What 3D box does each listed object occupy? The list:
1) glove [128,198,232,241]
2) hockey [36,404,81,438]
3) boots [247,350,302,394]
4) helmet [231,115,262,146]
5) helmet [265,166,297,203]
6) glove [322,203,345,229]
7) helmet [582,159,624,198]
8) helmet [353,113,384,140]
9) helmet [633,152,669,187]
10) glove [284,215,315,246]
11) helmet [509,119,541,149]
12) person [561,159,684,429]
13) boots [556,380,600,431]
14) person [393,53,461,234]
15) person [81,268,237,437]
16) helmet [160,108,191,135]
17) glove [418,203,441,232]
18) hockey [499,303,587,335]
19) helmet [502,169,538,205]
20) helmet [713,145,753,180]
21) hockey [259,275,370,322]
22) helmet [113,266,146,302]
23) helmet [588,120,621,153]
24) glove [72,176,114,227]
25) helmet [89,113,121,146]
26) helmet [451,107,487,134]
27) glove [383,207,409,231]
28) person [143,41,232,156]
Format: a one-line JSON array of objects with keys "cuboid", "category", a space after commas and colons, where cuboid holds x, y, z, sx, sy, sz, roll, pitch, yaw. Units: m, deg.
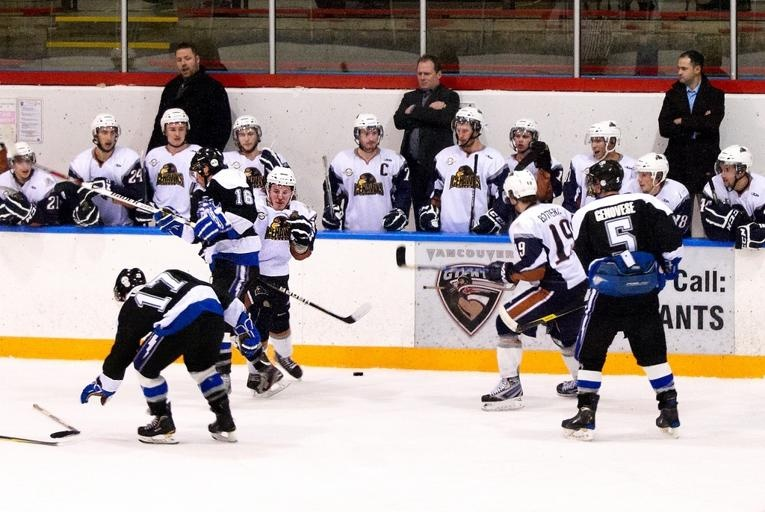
[{"cuboid": [-1.501, -0.284, 7.227, 0.657, 0.147, 0.272, 19, 13, -1], "category": "glove"}, {"cuboid": [-2.327, 1.138, 6.946, 0.298, 0.245, 0.381, -2, 5, -16], "category": "hockey"}, {"cuboid": [-0.859, 0.945, 8.122, 0.464, 0.412, 0.218, -17, 4, 4], "category": "boots"}, {"cuboid": [-1.293, -1.218, 9.303, 0.277, 0.291, 0.317, -5, -2, -2], "category": "helmet"}, {"cuboid": [-0.851, -0.610, 8.103, 0.223, 0.231, 0.247, 2, -27, -5], "category": "helmet"}, {"cuboid": [-0.437, -0.377, 9.182, 0.194, 0.226, 0.100, 3, -2, 23], "category": "glove"}, {"cuboid": [1.677, -0.578, 7.114, 0.244, 0.274, 0.294, -19, 34, -34], "category": "helmet"}, {"cuboid": [-0.138, -1.262, 9.268, 0.264, 0.281, 0.304, -1, -3, -8], "category": "helmet"}, {"cuboid": [2.374, -0.771, 8.557, 0.315, 0.280, 0.233, -6, 10, -2], "category": "helmet"}, {"cuboid": [-0.688, -0.223, 8.038, 0.229, 0.279, 0.191, 0, 5, 0], "category": "glove"}, {"cuboid": [1.344, -1.200, 9.216, 0.235, 0.283, 0.262, 3, 45, 18], "category": "helmet"}, {"cuboid": [1.732, 0.286, 6.970, 0.815, 1.949, 0.465, 1, 5, 13], "category": "person"}, {"cuboid": [1.444, 1.110, 6.984, 0.350, 0.347, 0.198, 3, 1, 13], "category": "boots"}, {"cuboid": [0.429, -1.134, 9.470, 0.613, 1.636, 0.321, -1, 5, -2], "category": "person"}, {"cuboid": [-1.391, 0.754, 7.222, 1.188, 1.335, 1.154, -7, -10, 33], "category": "person"}, {"cuboid": [-2.003, -1.307, 9.358, 0.217, 0.227, 0.245, -7, -12, -16], "category": "helmet"}, {"cuboid": [0.441, -0.365, 9.043, 0.206, 0.231, 0.234, 12, -44, -15], "category": "glove"}, {"cuboid": [1.253, 0.493, 7.581, 0.498, 0.109, 0.283, -19, -3, 5], "category": "hockey"}, {"cuboid": [1.077, -0.565, 7.650, 0.208, 0.237, 0.255, -6, 16, -8], "category": "helmet"}, {"cuboid": [3.188, -0.851, 8.690, 0.301, 0.263, 0.217, 9, -5, -5], "category": "helmet"}, {"cuboid": [-0.570, 0.332, 8.335, 1.095, 0.082, 0.348, 22, -40, -12], "category": "hockey"}, {"cuboid": [-1.758, 0.191, 6.954, 0.233, 0.250, 0.258, 2, 13, -34], "category": "helmet"}, {"cuboid": [2.113, -1.137, 9.121, 0.319, 0.292, 0.242, -4, 5, -7], "category": "helmet"}, {"cuboid": [-2.743, -0.454, 8.955, 0.453, 0.568, 0.239, -11, -6, 31], "category": "glove"}, {"cuboid": [-2.640, -1.232, 9.362, 0.282, 0.329, 0.346, -2, -4, -23], "category": "helmet"}, {"cuboid": [0.820, -1.302, 9.147, 0.260, 0.284, 0.310, -1, -13, 30], "category": "helmet"}, {"cuboid": [0.110, -0.342, 9.026, 0.215, 0.203, 0.385, 1, 5, 16], "category": "glove"}, {"cuboid": [-2.006, -1.286, 9.906, 0.877, 1.659, 0.553, 10, 18, 26], "category": "person"}]
